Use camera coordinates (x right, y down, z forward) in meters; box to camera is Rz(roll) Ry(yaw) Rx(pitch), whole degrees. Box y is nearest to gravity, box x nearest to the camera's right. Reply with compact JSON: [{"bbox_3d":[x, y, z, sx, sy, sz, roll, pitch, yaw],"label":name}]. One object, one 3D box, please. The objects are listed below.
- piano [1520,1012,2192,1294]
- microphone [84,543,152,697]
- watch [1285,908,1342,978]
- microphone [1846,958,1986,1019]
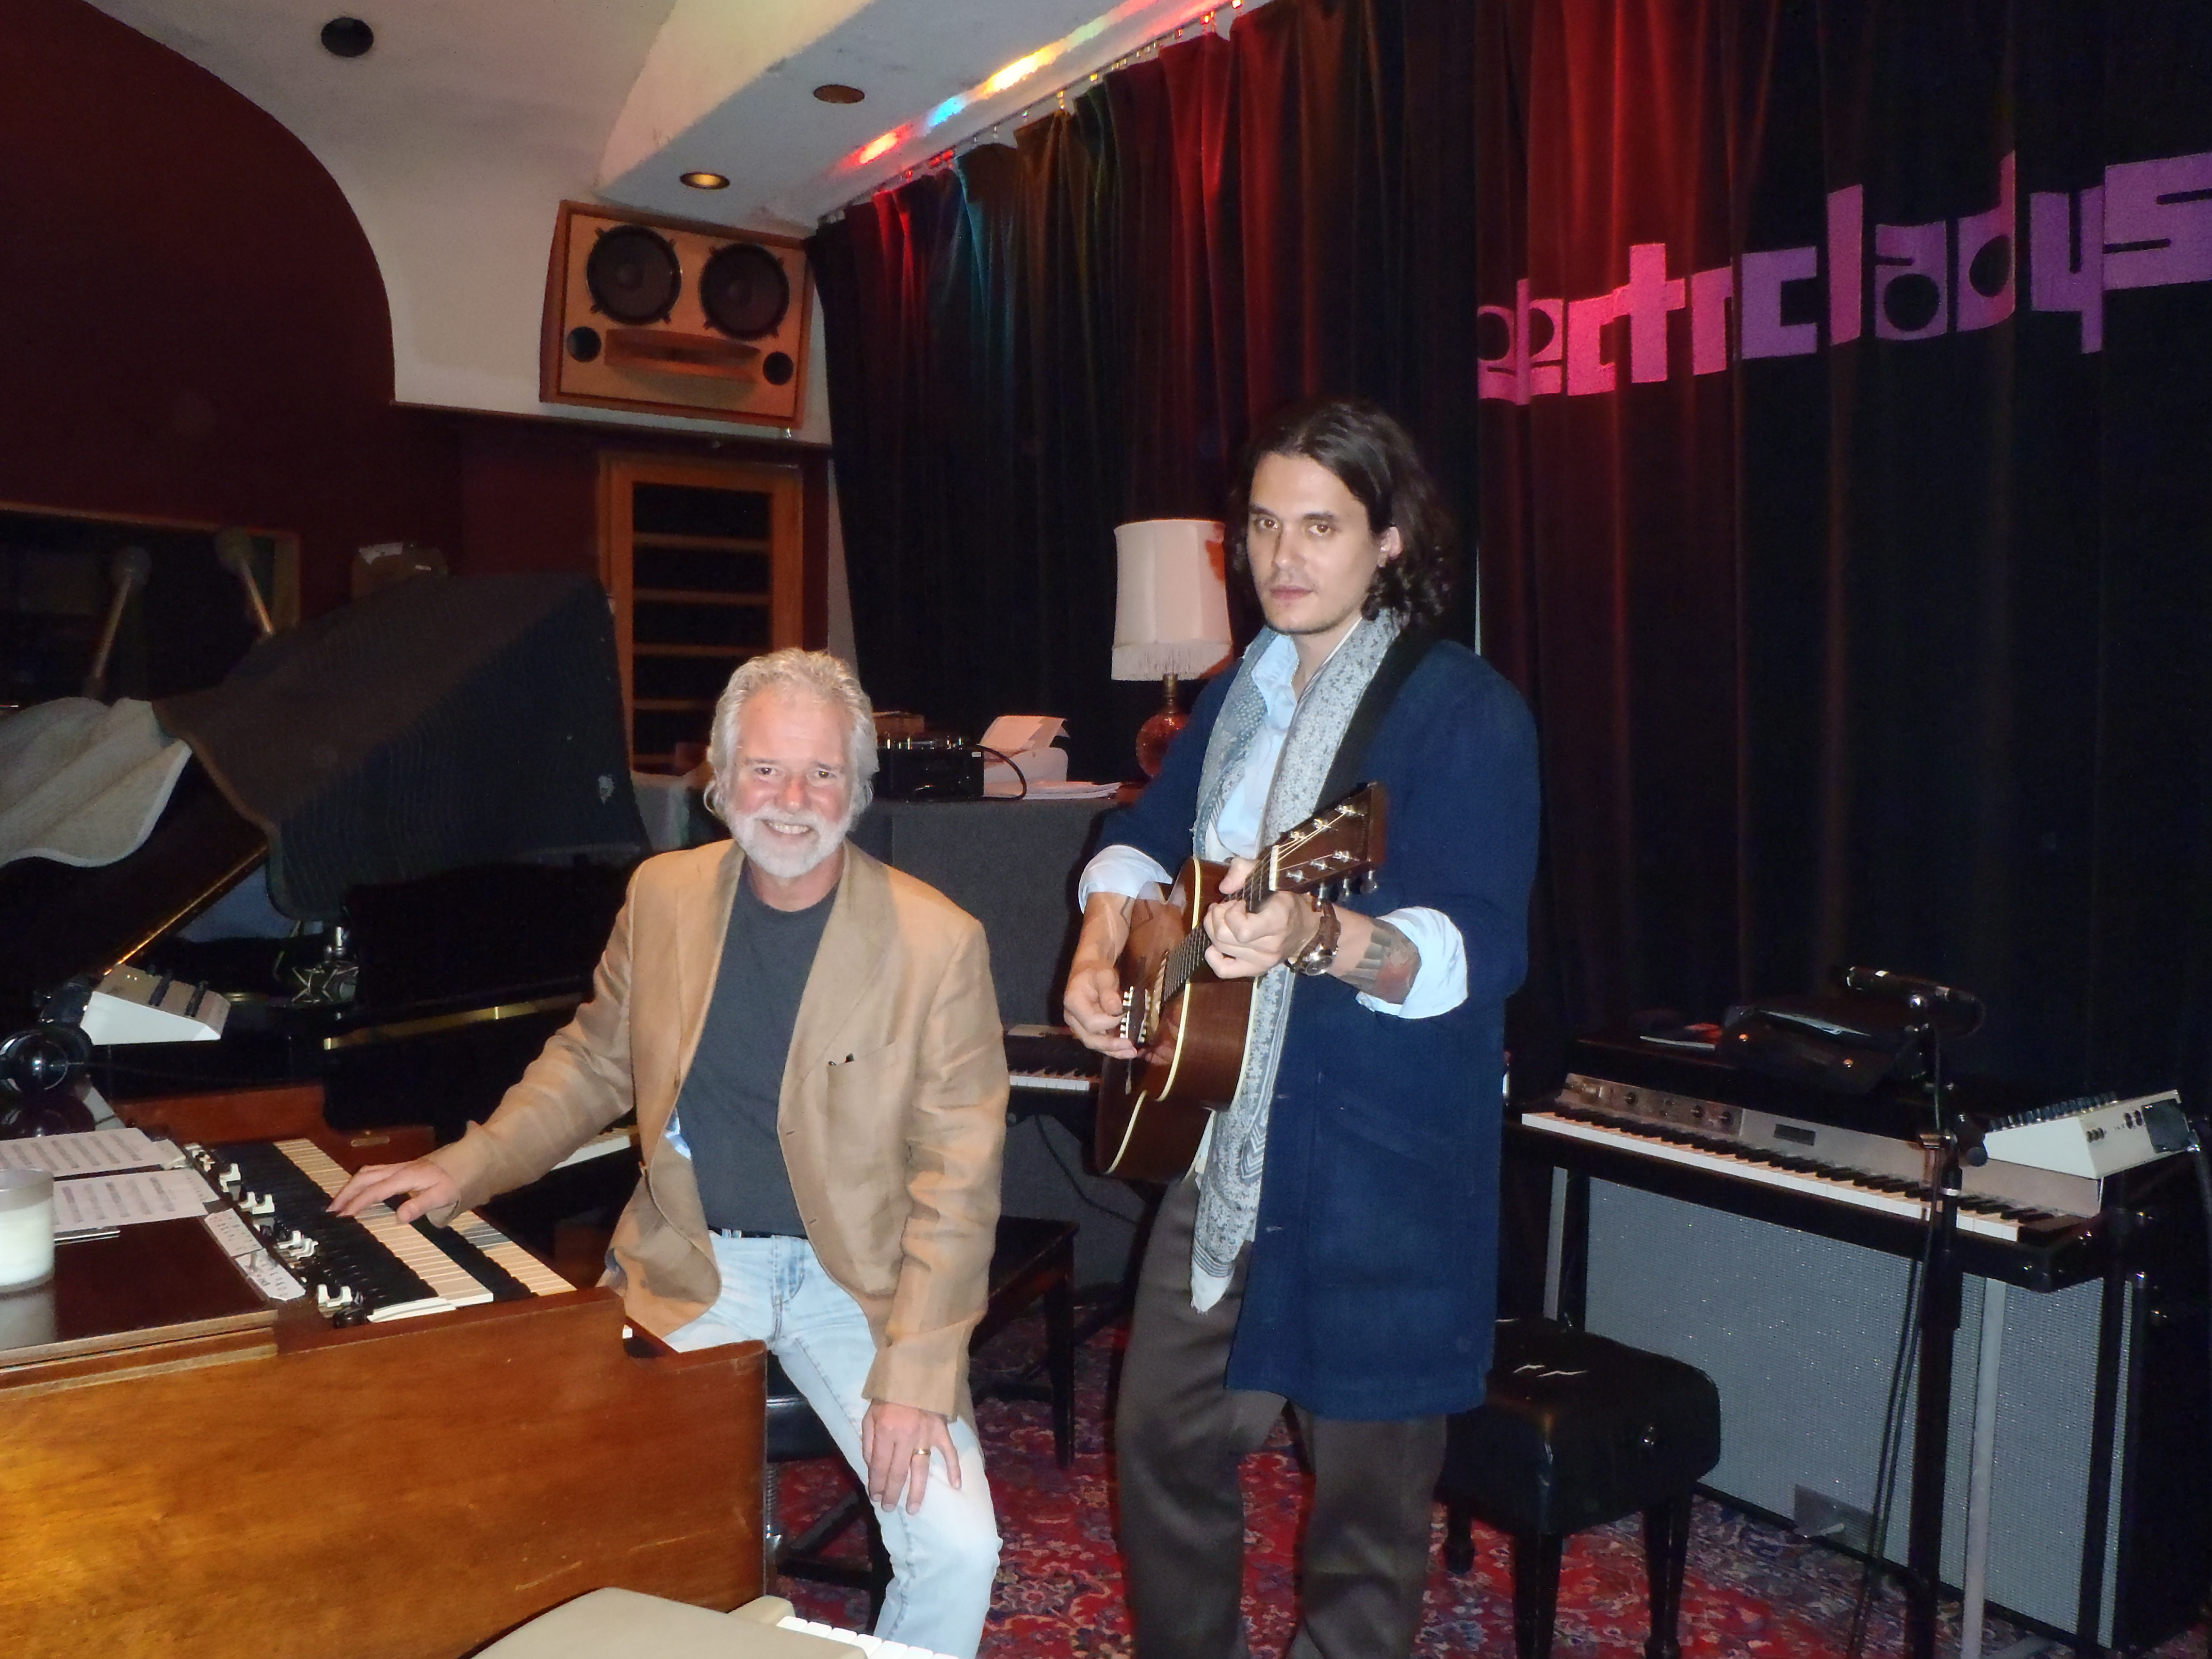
[{"bbox_3d":[1.400,0.588,3.160,1.115,0.276,0.444,4,5,39],"label":"piano"},{"bbox_3d":[-3.497,-0.733,5.856,0.128,0.598,0.053,12,-38,-19],"label":"microphone"},{"bbox_3d":[0.273,0.155,2.204,0.031,0.079,0.067,22,-28,-31],"label":"watch"},{"bbox_3d":[1.439,0.286,2.990,0.119,0.076,0.203,1,6,-21],"label":"microphone"}]
